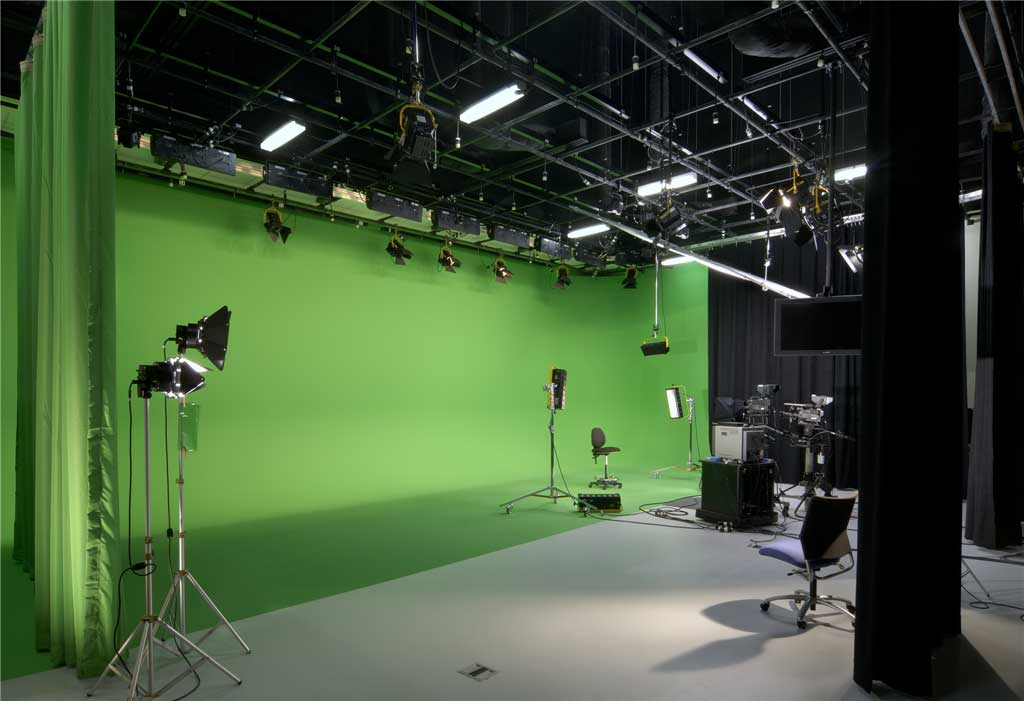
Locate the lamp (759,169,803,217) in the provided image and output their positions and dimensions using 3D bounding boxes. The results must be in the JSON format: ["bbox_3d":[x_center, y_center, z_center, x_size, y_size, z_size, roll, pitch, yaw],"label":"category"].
[{"bbox_3d":[3.312,-1.923,10.149,0.470,0.567,0.310,1,3,9],"label":"lamp"}]

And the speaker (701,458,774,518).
[{"bbox_3d":[3.086,1.925,11.292,0.985,0.810,0.995,1,-1,-16],"label":"speaker"}]

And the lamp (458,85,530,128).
[{"bbox_3d":[-0.252,-2.621,9.242,0.221,0.084,0.751,27,-28,-32],"label":"lamp"}]

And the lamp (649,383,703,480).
[{"bbox_3d":[3.137,1.465,15.460,0.729,1.585,1.220,2,3,20],"label":"lamp"}]

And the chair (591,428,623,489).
[{"bbox_3d":[1.478,1.673,12.967,0.516,0.899,0.514,0,-1,41],"label":"chair"}]

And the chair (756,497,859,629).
[{"bbox_3d":[3.066,2.071,8.390,0.943,1.285,0.937,2,3,42],"label":"chair"}]

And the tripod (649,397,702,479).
[{"bbox_3d":[3.324,1.573,15.515,1.113,1.553,1.127,2,-10,-12],"label":"tripod"}]

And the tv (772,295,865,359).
[{"bbox_3d":[3.279,-0.251,8.769,0.969,0.619,0.078,-1,3,34],"label":"tv"}]
